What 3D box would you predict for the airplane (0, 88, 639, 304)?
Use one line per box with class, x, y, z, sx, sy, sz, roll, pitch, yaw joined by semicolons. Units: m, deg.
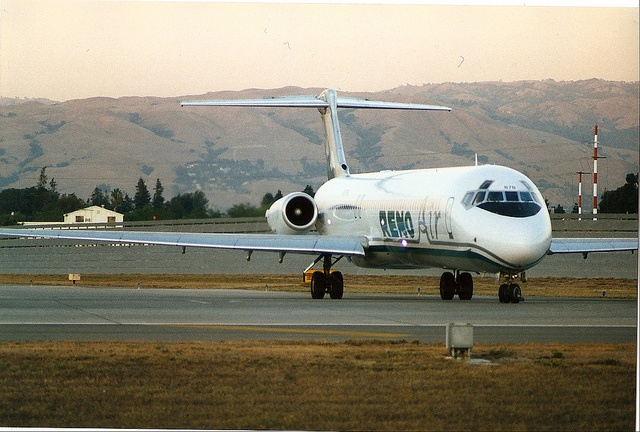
airplane;3.029;-1.083;44.193;15.682;8.882;11.063;1;2;29
